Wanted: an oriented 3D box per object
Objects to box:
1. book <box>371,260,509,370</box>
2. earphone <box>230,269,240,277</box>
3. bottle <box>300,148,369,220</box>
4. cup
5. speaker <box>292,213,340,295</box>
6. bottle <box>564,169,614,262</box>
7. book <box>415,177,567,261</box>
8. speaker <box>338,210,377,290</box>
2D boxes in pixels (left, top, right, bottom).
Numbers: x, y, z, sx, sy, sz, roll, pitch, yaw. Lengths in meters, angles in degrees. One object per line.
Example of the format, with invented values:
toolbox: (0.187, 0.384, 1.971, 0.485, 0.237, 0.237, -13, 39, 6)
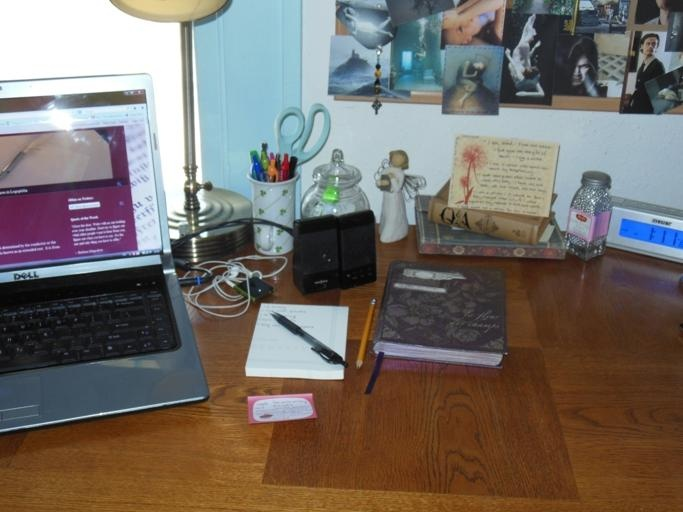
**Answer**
book: (0.184, 0.098, 1.022, 0.217, 0.083, 0.255, 4, 24, 12)
earphone: (-0.216, 0.033, 1.127, 0.017, 0.011, 0.022, 5, 24, 14)
bottle: (-0.034, -0.175, 1.265, 0.149, 0.165, 0.150, 7, 16, 25)
cup: (-0.156, -0.101, 1.211, 0.095, 0.144, 0.096, 9, 19, -3)
speaker: (-0.049, -0.006, 1.092, 0.081, 0.143, 0.056, -10, 22, -24)
bottle: (0.530, -0.086, 1.204, 0.089, 0.170, 0.089, -2, 25, 1)
book: (0.313, -0.066, 1.198, 0.196, 0.042, 0.195, 2, 30, 2)
speaker: (0.030, -0.013, 1.095, 0.078, 0.143, 0.028, -12, 25, -23)
